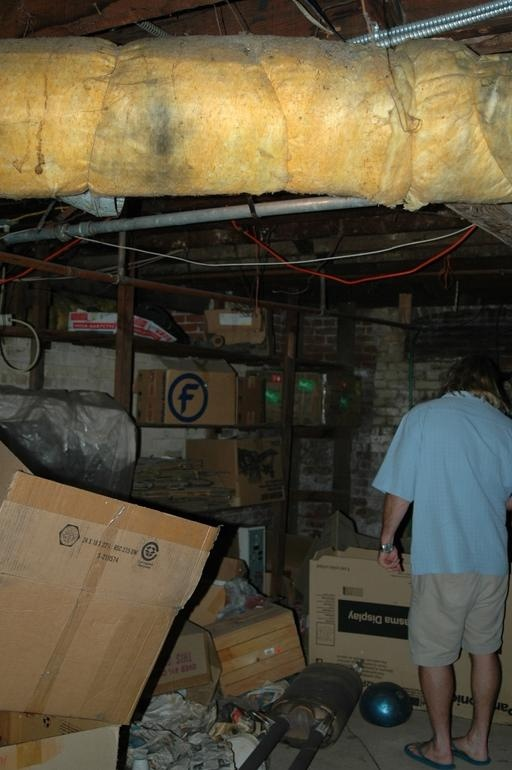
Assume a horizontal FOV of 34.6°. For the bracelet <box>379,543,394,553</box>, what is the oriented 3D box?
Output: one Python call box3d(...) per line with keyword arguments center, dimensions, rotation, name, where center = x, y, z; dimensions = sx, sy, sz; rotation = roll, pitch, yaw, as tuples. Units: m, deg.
box3d(center=(0.517, 0.654, 3.296), dimensions=(0.036, 0.028, 0.046), rotation=(0, -12, 10), name="bracelet")
